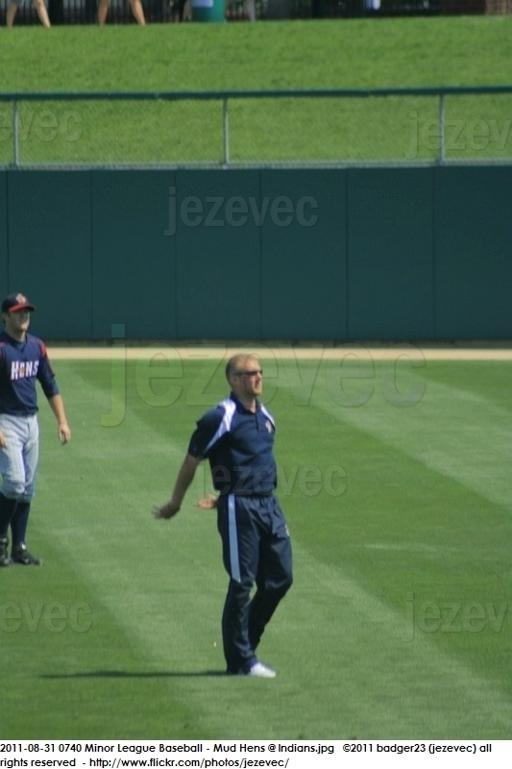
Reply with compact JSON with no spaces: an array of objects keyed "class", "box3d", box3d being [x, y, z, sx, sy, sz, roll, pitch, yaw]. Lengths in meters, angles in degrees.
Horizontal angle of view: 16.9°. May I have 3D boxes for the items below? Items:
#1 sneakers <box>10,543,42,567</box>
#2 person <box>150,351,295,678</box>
[{"class":"sneakers","box3d":[-1.684,1.247,12.694,0.241,0.255,0.106,0,4,-11]},{"class":"person","box3d":[-0.140,0.963,10.539,0.677,1.758,0.371,0,8,-4]}]
